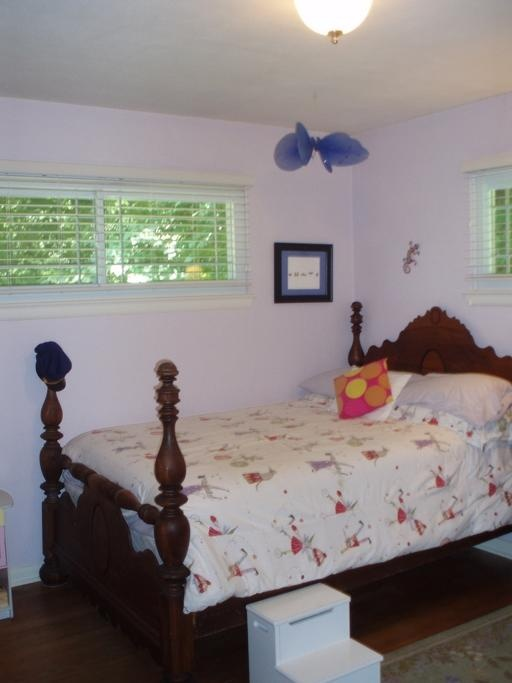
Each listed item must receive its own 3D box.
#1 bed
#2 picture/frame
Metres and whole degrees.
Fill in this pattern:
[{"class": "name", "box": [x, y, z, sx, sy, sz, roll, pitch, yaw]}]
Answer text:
[{"class": "bed", "box": [0.289, 0.500, 2.932, 2.237, 1.222, 1.462, -4, 8, -32]}, {"class": "picture/frame", "box": [0.311, -0.475, 4.026, 0.508, 0.415, 0.036, -2, 7, -29]}]
